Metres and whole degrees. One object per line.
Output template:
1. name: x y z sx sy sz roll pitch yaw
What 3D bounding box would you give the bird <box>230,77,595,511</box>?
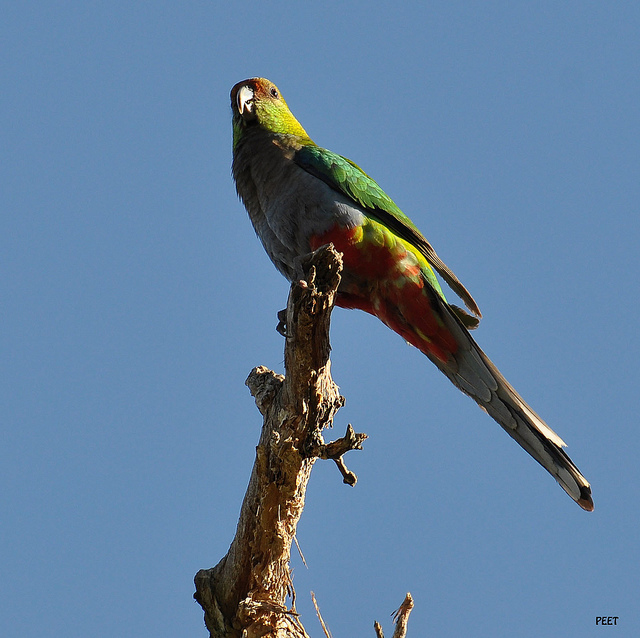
1. bird: 0.479 -0.226 8.158 2.527 1.331 0.764 33 -47 -7
